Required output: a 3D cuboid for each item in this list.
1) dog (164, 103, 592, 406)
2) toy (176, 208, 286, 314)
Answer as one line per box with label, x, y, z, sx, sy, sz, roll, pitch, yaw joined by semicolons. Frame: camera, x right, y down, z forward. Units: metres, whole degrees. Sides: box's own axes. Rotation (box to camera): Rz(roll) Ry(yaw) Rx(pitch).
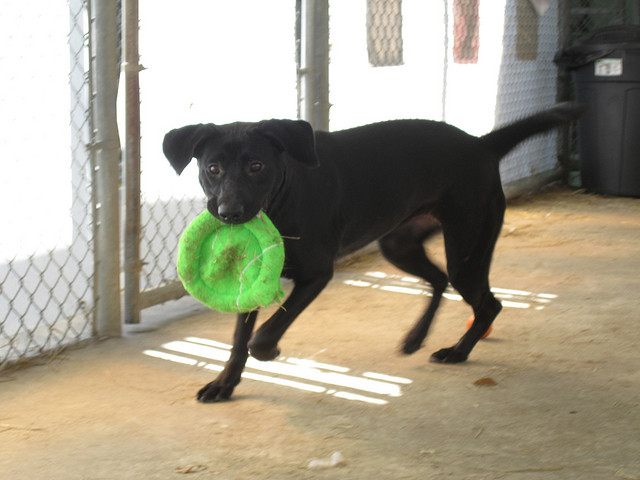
dog;0.455;-0.034;3.793;0.761;1.227;3.623;11;13;41
toy;-0.367;0.081;2.913;0.445;0.426;0.190;-1;14;0
